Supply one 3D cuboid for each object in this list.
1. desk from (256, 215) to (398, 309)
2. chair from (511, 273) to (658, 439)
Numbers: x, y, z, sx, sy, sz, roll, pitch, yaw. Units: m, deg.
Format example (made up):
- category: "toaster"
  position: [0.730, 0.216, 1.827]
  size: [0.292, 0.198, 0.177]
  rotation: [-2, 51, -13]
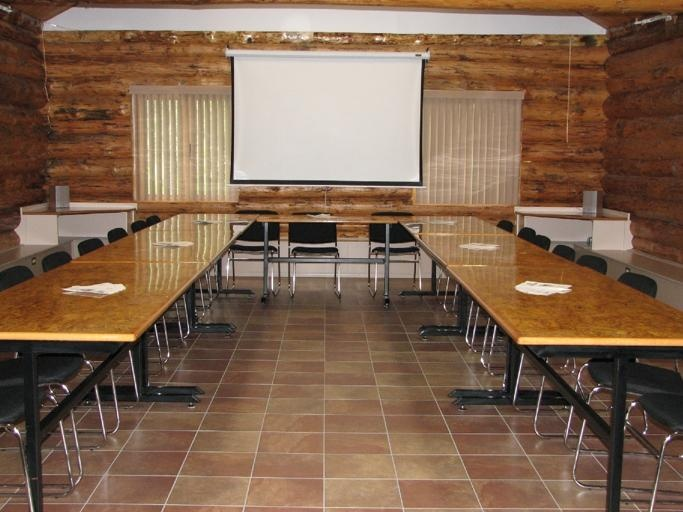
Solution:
- category: "desk"
  position: [-0.243, 0.010, 7.831]
  size: [1.939, 1.103, 1.429]
  rotation: [2, 9, 2]
- category: "chair"
  position: [1.900, 0.839, 4.149]
  size: [0.870, 1.002, 0.810]
  rotation: [-4, -3, -15]
